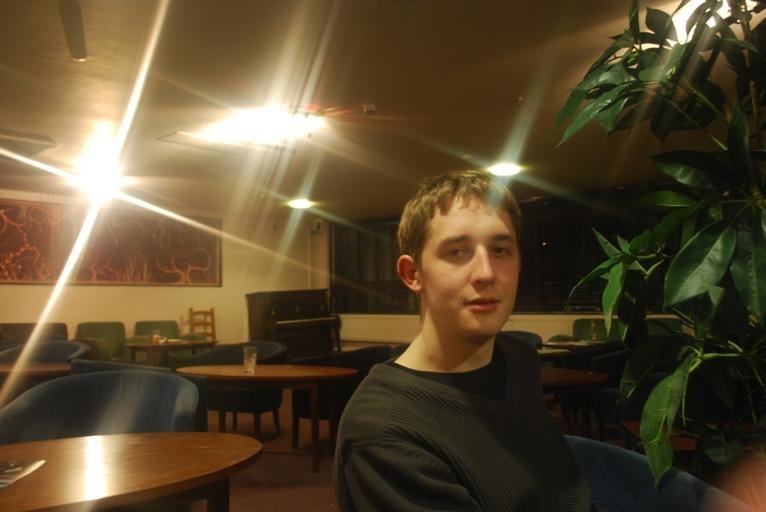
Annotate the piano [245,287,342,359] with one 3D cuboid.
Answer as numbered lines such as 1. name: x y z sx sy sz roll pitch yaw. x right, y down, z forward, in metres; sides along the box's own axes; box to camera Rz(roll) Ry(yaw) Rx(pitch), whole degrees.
1. piano: -1.433 1.098 8.918 0.721 1.017 1.379 -12 -9 40
